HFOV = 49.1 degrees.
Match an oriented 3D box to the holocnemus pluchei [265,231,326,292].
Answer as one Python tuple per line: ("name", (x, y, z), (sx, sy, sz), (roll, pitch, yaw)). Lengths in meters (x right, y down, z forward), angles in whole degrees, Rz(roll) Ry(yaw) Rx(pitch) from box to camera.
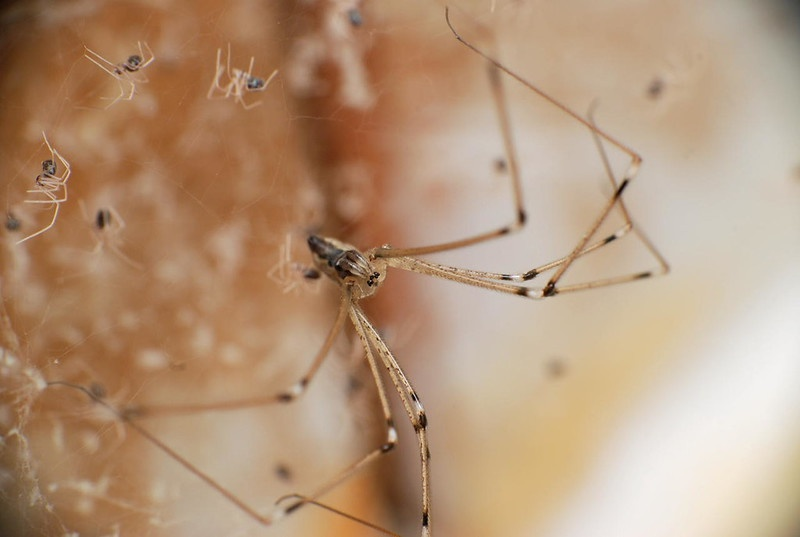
("holocnemus pluchei", (-0.476, -0.015, 3.832), (0.193, 0.101, 0.287), (-5, -88, -28))

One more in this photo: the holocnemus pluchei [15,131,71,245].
("holocnemus pluchei", (-1.453, -0.338, 3.610), (0.167, 0.165, 0.344), (17, -66, -11))

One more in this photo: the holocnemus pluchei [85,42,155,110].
("holocnemus pluchei", (-1.158, -0.806, 3.610), (0.288, 0.104, 0.219), (-5, -64, 0))

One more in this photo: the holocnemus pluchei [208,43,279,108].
("holocnemus pluchei", (-0.660, -0.790, 3.672), (0.264, 0.079, 0.213), (16, -66, -10))
